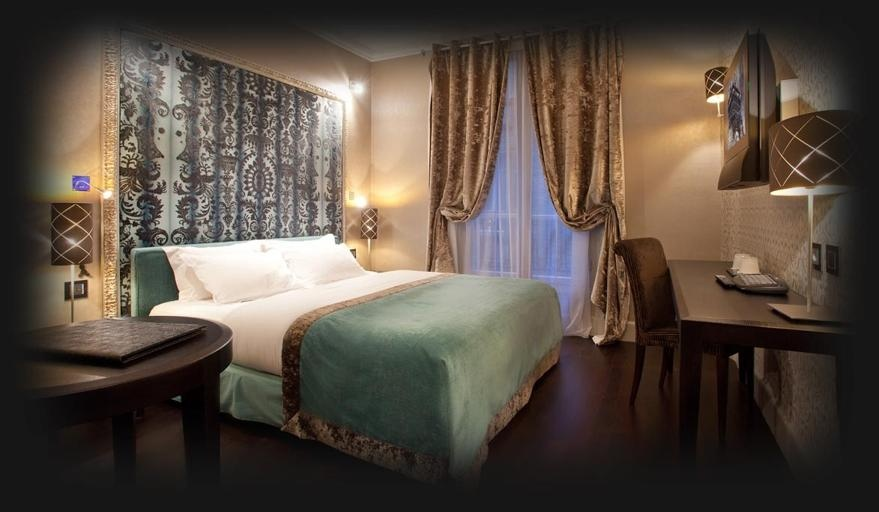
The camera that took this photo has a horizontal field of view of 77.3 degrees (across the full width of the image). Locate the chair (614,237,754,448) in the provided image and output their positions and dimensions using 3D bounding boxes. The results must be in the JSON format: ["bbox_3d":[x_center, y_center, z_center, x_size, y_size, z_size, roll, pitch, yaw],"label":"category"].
[{"bbox_3d":[1.751,0.502,3.968,0.889,1.178,0.764,4,8,41],"label":"chair"}]

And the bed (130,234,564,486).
[{"bbox_3d":[-0.590,0.665,3.792,1.939,0.819,1.923,0,3,30],"label":"bed"}]

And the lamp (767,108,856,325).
[{"bbox_3d":[1.911,-0.203,2.866,0.347,1.045,0.420,2,7,30],"label":"lamp"}]

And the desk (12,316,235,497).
[{"bbox_3d":[-1.447,0.832,2.568,0.875,0.606,0.836,4,-29,-43],"label":"desk"}]

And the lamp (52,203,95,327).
[{"bbox_3d":[-2.562,0.038,3.881,0.274,0.834,0.301,-6,7,-31],"label":"lamp"}]

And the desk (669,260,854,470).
[{"bbox_3d":[1.797,0.647,3.299,0.730,0.977,1.160,0,6,20],"label":"desk"}]
